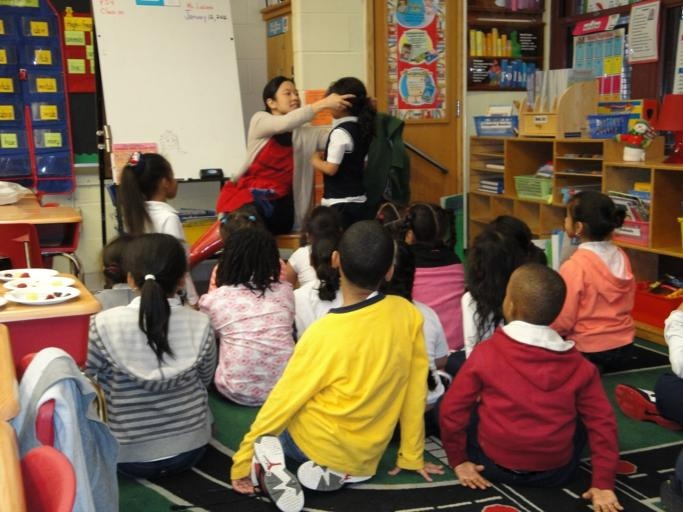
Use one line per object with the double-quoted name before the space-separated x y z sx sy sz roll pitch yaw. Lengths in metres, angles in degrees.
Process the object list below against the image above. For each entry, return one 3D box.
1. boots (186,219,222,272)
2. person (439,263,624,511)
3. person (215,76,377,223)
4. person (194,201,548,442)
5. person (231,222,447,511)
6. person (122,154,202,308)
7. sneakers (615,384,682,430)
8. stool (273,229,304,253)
"boots" -0.918 -0.095 3.519 0.422 0.102 0.112 -48 19 -5
"person" 0.584 0.414 1.752 0.502 0.761 0.198 1 12 10
"person" -0.474 -0.612 3.532 0.962 1.123 0.886 -4 10 -45
"person" 0.181 0.223 2.805 0.796 0.914 1.621 1 0 -23
"person" -0.030 0.362 1.898 0.719 1.005 0.644 -2 11 -34
"person" -1.012 0.025 2.986 0.339 1.099 0.353 14 20 30
"sneakers" 1.321 0.638 2.301 0.260 0.097 0.112 15 35 32
"stool" -0.351 -0.111 3.666 0.175 0.168 0.135 0 4 6
